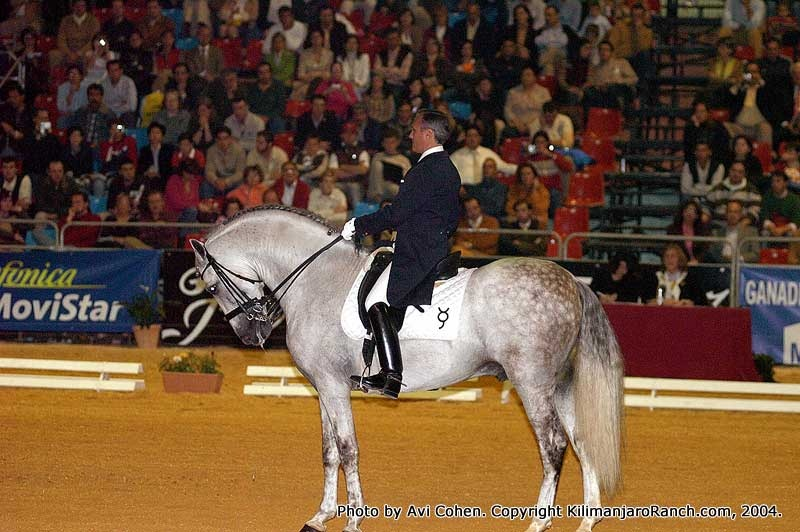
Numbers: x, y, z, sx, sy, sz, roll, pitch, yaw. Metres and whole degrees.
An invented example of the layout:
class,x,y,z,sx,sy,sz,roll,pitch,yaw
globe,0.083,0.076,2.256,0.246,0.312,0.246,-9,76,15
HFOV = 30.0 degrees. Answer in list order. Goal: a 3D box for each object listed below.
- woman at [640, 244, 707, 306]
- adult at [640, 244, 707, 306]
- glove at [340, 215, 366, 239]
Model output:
class,x,y,z,sx,sy,sz,roll,pitch,yaw
woman,6.311,0.396,33.937,1.896,1.792,1.269,0,-3,26
adult,6.132,0.334,33.715,1.635,1.527,1.059,1,8,35
glove,-0.924,-0.676,27.498,0.273,0.352,0.119,38,6,37
